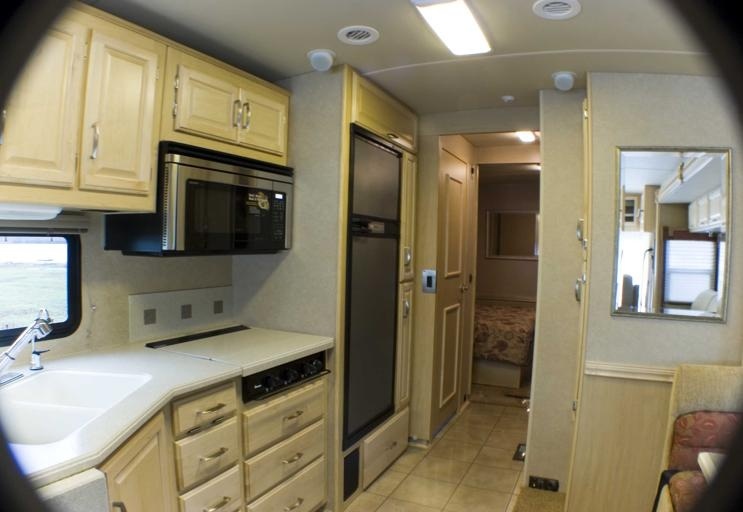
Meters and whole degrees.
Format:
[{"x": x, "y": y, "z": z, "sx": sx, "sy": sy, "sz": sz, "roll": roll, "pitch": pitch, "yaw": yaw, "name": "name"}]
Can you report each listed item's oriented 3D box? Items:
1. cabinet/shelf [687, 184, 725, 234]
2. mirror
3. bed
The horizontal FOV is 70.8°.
[{"x": 1.727, "y": -0.236, "z": 2.688, "sx": 0.087, "sy": 0.222, "sz": 0.225, "roll": 11, "pitch": -13, "yaw": -32, "name": "cabinet/shelf"}, {"x": 1.577, "y": -0.120, "z": 2.759, "sx": 0.643, "sy": 0.911, "sz": 0.171, "roll": 11, "pitch": 14, "yaw": 17, "name": "mirror"}, {"x": 1.417, "y": 0.868, "z": 5.623, "sx": 0.655, "sy": 0.673, "sz": 1.381, "roll": 9, "pitch": 14, "yaw": 12, "name": "bed"}]
